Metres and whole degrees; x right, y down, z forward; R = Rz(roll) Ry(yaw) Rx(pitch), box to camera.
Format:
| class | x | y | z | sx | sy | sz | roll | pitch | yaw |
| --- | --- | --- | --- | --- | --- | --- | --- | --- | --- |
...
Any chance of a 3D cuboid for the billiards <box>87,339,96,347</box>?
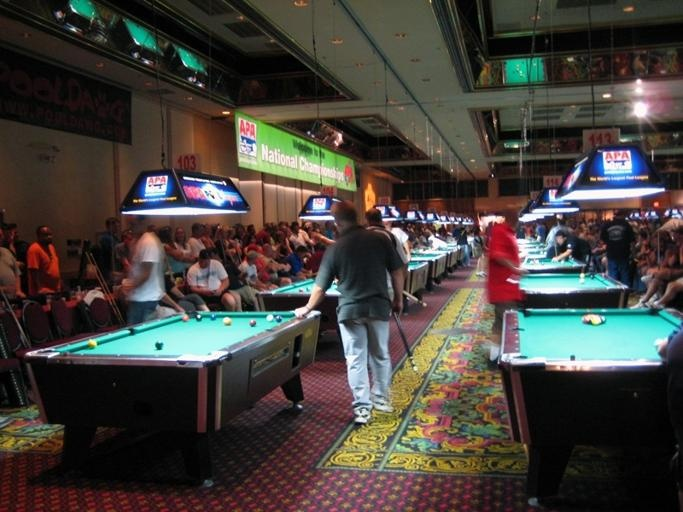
| class | x | y | z | sx | sy | sz | roll | pitch | yaw |
| --- | --- | --- | --- | --- | --- | --- | --- | --- | --- |
| billiards | -1.920 | 0.664 | 3.951 | 0.044 | 0.047 | 0.045 | 6 | 7 | 19 |

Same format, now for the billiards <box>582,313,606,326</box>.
| class | x | y | z | sx | sy | sz | roll | pitch | yaw |
| --- | --- | --- | --- | --- | --- | --- | --- | --- | --- |
| billiards | 2.164 | 0.539 | 4.418 | 0.114 | 0.044 | 0.119 | 4 | 5 | 37 |

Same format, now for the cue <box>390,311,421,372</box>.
| class | x | y | z | sx | sy | sz | roll | pitch | yaw |
| --- | --- | --- | --- | --- | --- | --- | --- | --- | --- |
| cue | 0.834 | 1.150 | 6.875 | 0.193 | 0.832 | 0.120 | -26 | 21 | -2 |

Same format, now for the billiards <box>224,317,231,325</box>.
| class | x | y | z | sx | sy | sz | roll | pitch | yaw |
| --- | --- | --- | --- | --- | --- | --- | --- | --- | --- |
| billiards | -1.065 | 0.598 | 4.779 | 0.059 | 0.049 | 0.061 | -1 | 3 | 0 |

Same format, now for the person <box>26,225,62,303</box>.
| class | x | y | z | sx | sy | sz | roll | pitch | yaw |
| --- | --- | --- | --- | --- | --- | --- | --- | --- | --- |
| person | -4.268 | 0.045 | 7.330 | 0.424 | 0.934 | 0.781 | -4 | 6 | -28 |

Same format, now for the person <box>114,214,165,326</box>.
| class | x | y | z | sx | sy | sz | roll | pitch | yaw |
| --- | --- | --- | --- | --- | --- | --- | --- | --- | --- |
| person | -2.122 | 0.138 | 5.503 | 0.434 | 1.139 | 0.474 | -4 | 6 | -25 |

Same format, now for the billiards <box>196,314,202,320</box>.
| class | x | y | z | sx | sy | sz | roll | pitch | yaw |
| --- | --- | --- | --- | --- | --- | --- | --- | --- | --- |
| billiards | -1.409 | 0.595 | 5.061 | 0.047 | 0.047 | 0.056 | 27 | 19 | 30 |

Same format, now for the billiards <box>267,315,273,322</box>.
| class | x | y | z | sx | sy | sz | roll | pitch | yaw |
| --- | --- | --- | --- | --- | --- | --- | --- | --- | --- |
| billiards | -0.674 | 0.572 | 4.801 | 0.053 | 0.054 | 0.063 | -3 | -12 | -2 |

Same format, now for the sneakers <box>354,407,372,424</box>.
| class | x | y | z | sx | sy | sz | roll | pitch | yaw |
| --- | --- | --- | --- | --- | --- | --- | --- | --- | --- |
| sneakers | 0.182 | 1.385 | 4.578 | 0.152 | 0.130 | 0.238 | -1 | 5 | 3 |

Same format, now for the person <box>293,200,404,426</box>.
| class | x | y | z | sx | sy | sz | roll | pitch | yaw |
| --- | --- | --- | --- | --- | --- | --- | --- | --- | --- |
| person | 0.141 | 0.475 | 4.626 | 0.805 | 1.936 | 0.494 | -1 | 5 | 5 |

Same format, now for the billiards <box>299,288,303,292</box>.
| class | x | y | z | sx | sy | sz | roll | pitch | yaw |
| --- | --- | --- | --- | --- | --- | --- | --- | --- | --- |
| billiards | -0.554 | 0.445 | 6.891 | 0.031 | 0.035 | 0.043 | 3 | 3 | 28 |

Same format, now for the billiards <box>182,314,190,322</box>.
| class | x | y | z | sx | sy | sz | roll | pitch | yaw |
| --- | --- | --- | --- | --- | --- | --- | --- | --- | --- |
| billiards | -1.518 | 0.593 | 4.996 | 0.058 | 0.050 | 0.060 | 3 | 9 | 34 |

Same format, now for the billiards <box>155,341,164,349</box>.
| class | x | y | z | sx | sy | sz | roll | pitch | yaw |
| --- | --- | --- | --- | --- | --- | --- | --- | --- | --- |
| billiards | -1.370 | 0.657 | 3.859 | 0.058 | 0.057 | 0.053 | 1 | 4 | -20 |
